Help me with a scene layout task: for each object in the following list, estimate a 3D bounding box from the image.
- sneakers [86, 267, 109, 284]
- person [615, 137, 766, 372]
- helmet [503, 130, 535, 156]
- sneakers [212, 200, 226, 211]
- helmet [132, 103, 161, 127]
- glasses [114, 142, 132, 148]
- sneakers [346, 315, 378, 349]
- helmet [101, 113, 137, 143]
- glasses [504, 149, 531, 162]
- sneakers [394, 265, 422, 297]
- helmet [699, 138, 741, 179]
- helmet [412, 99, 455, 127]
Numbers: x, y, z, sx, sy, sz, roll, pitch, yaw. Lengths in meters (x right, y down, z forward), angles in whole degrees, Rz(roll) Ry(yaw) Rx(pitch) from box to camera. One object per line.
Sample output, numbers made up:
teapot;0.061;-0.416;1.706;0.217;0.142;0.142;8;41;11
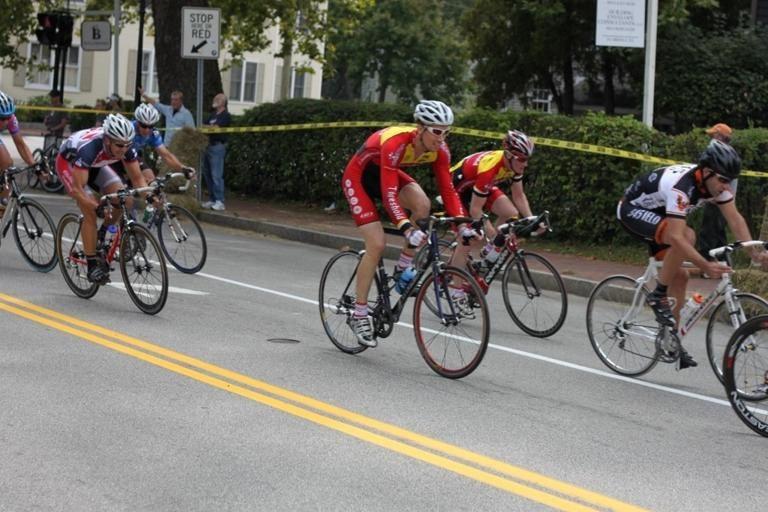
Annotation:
sneakers;-3.644;0.255;9.296;0.324;0.210;0.119;4;10;4
person;3.130;-0.029;7.589;0.852;2.316;1.276;1;10;-11
helmet;1.677;-1.446;9.256;0.257;0.191;0.369;-4;25;-37
sneakers;-4.045;-1.223;17.799;0.236;0.150;0.394;7;-2;-14
helmet;-3.547;-2.015;10.921;0.402;0.233;0.623;3;20;-22
glasses;-3.174;-1.333;8.890;0.164;0.073;0.156;-1;12;-22
sneakers;-0.237;0.759;7.859;0.155;0.191;0.468;-9;30;-26
helmet;-3.239;-1.550;8.862;0.271;0.179;0.408;-10;48;-37
glasses;1.665;-1.252;9.275;0.173;0.059;0.182;15;0;-37
sneakers;0.214;0.257;7.658;0.137;0.182;0.386;-11;-16;-42
helmet;3.272;-0.967;7.142;0.314;0.247;0.491;2;23;-18
helmet;0.505;-1.450;7.523;0.378;0.246;0.487;3;11;0
